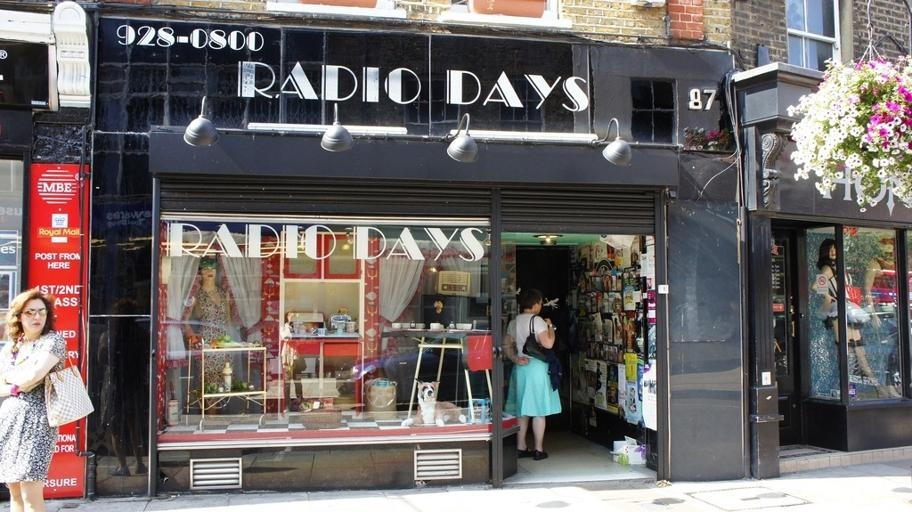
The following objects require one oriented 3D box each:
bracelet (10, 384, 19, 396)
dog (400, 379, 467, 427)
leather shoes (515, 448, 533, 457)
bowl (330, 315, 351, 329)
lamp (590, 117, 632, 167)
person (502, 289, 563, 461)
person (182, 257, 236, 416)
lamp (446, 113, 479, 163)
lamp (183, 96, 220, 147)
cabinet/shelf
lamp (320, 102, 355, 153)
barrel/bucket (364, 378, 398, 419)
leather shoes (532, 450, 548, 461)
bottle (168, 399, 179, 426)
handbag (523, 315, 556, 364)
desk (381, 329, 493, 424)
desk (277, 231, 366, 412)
[{"bbox_3d":[-5.492,1.663,11.433,0.089,0.120,0.040,0,2,-4],"label":"bracelet"},{"bbox_3d":[-0.300,2.166,13.385,0.541,0.467,0.922,-5,-13,19],"label":"dog"},{"bbox_3d":[1.075,3.073,14.379,0.341,0.125,0.106,0,-1,-36],"label":"leather shoes"},{"bbox_3d":[-1.673,0.984,13.382,0.300,0.271,0.194,2,-7,-13],"label":"bowl"},{"bbox_3d":[2.299,-1.644,13.155,0.434,0.678,0.438,-2,20,-3],"label":"lamp"},{"bbox_3d":[1.227,1.872,14.394,0.835,2.489,1.103,3,13,9],"label":"person"},{"bbox_3d":[-3.505,1.120,13.053,0.632,2.118,0.560,-1,13,-10],"label":"person"},{"bbox_3d":[0.107,-1.690,13.068,0.447,0.678,0.737,1,13,-1],"label":"lamp"},{"bbox_3d":[-3.443,-1.864,12.487,0.484,0.550,0.444,-3,28,-32],"label":"lamp"},{"bbox_3d":[-3.250,1.709,13.535,1.318,1.219,0.967,1,0,-13],"label":"cabinet/shelf"},{"bbox_3d":[-1.686,-1.809,12.759,0.506,0.604,0.609,-1,32,-15],"label":"lamp"},{"bbox_3d":[-1.074,2.044,13.330,0.456,0.494,0.570,0,-7,1],"label":"barrel/bucket"},{"bbox_3d":[1.329,3.074,14.344,0.249,0.132,0.232,0,13,-2],"label":"leather shoes"},{"bbox_3d":[-3.958,2.190,12.907,0.166,0.336,0.108,-3,13,-16],"label":"bottle"},{"bbox_3d":[1.285,1.320,14.378,0.550,0.742,0.298,17,8,-3],"label":"handbag"},{"bbox_3d":[-0.330,1.712,13.877,1.427,1.297,1.389,0,-1,-11],"label":"desk"},{"bbox_3d":[-1.923,0.896,13.253,1.136,2.563,0.374,0,5,-10],"label":"desk"}]
